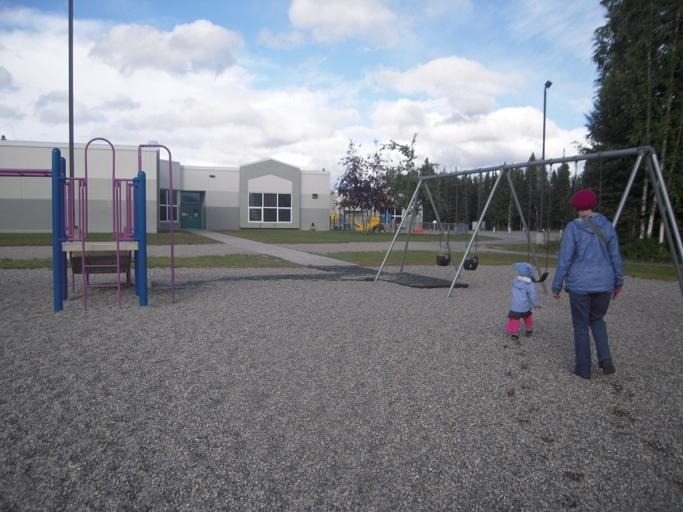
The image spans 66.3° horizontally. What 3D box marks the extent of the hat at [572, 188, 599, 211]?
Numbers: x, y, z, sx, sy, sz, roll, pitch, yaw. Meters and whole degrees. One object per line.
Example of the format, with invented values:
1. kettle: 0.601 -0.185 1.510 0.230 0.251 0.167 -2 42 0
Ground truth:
1. hat: 2.666 -0.658 5.842 0.245 0.261 0.071 8 -10 7

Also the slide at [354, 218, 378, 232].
1. slide: 2.380 -3.062 52.082 1.740 0.864 1.890 -8 0 3

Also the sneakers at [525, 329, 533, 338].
1. sneakers: 2.483 1.014 6.987 0.074 0.098 0.218 -5 -6 18

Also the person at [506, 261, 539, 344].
1. person: 2.434 0.572 7.082 0.338 1.004 0.992 4 12 20

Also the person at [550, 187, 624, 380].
1. person: 2.643 0.267 5.606 0.701 1.908 0.752 9 13 39

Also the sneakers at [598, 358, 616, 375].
1. sneakers: 2.771 1.137 5.477 0.093 0.156 0.212 1 5 10
